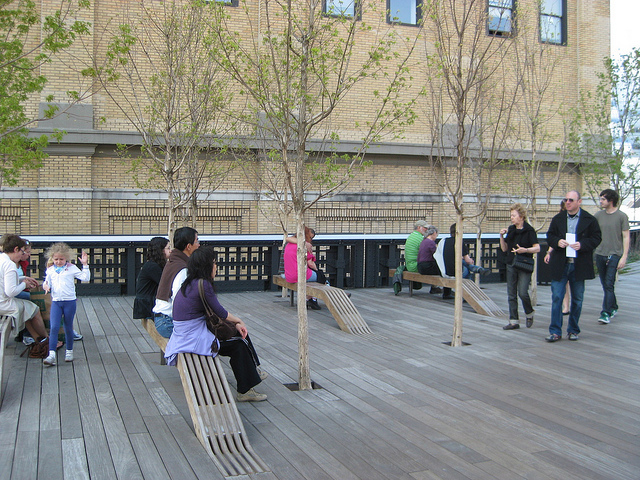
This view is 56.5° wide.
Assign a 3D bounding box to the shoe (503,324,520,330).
[{"bbox_3d":[3.700,1.670,11.486,0.306,0.119,0.114,1,-6,-2],"label":"shoe"}]

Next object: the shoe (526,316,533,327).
[{"bbox_3d":[4.121,1.616,11.691,0.099,0.234,0.076,33,-26,-31],"label":"shoe"}]

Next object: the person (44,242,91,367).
[{"bbox_3d":[-3.993,0.964,9.295,0.700,1.862,0.738,-5,11,-24],"label":"person"}]

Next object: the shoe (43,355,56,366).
[{"bbox_3d":[-4.128,1.828,9.016,0.082,0.098,0.209,10,0,-7],"label":"shoe"}]

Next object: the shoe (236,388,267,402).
[{"bbox_3d":[-0.934,2.099,8.079,0.402,0.178,0.166,0,-3,-10],"label":"shoe"}]

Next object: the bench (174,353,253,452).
[{"bbox_3d":[-1.418,1.848,7.394,0.623,0.250,2.169,6,19,-26],"label":"bench"}]

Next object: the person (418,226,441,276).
[{"bbox_3d":[2.628,0.264,14.319,0.499,1.117,0.632,1,10,4],"label":"person"}]

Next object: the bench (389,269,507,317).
[{"bbox_3d":[2.946,1.184,14.140,0.516,0.725,3.377,-2,6,-32],"label":"bench"}]

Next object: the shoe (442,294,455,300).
[{"bbox_3d":[3.228,1.419,14.889,0.321,0.134,0.110,0,-1,-20],"label":"shoe"}]

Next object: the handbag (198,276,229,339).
[{"bbox_3d":[-1.358,0.852,7.517,0.374,0.786,0.104,3,11,16],"label":"handbag"}]

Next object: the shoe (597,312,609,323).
[{"bbox_3d":[5.779,1.570,12.042,0.213,0.205,0.179,2,10,12],"label":"shoe"}]

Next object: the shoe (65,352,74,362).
[{"bbox_3d":[-3.938,1.821,9.273,0.107,0.130,0.318,2,-8,-22],"label":"shoe"}]

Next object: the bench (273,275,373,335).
[{"bbox_3d":[0.060,1.246,11.617,1.149,0.908,1.624,3,3,-32],"label":"bench"}]

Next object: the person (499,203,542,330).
[{"bbox_3d":[3.895,0.511,11.659,0.742,2.435,1.026,4,11,19],"label":"person"}]

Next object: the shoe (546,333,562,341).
[{"bbox_3d":[4.202,1.735,10.625,0.296,0.126,0.111,-1,1,14],"label":"shoe"}]

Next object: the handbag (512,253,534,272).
[{"bbox_3d":[3.899,0.412,11.382,0.284,0.212,0.106,20,15,10],"label":"handbag"}]
